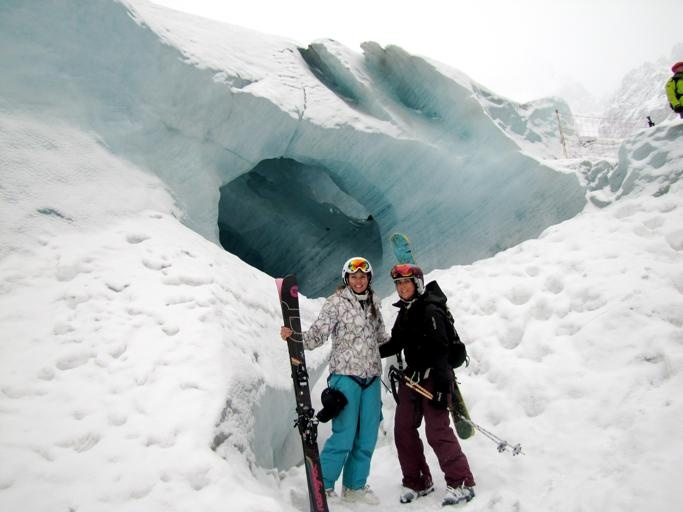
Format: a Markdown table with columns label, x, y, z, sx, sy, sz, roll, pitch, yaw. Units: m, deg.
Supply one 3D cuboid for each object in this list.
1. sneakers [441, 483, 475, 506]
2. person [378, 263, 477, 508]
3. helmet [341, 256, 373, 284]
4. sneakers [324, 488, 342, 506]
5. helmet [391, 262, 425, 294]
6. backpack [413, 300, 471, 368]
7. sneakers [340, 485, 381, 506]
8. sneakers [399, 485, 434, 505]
| label | x | y | z | sx | sy | sz | roll | pitch | yaw |
| --- | --- | --- | --- | --- | --- | --- | --- | --- | --- |
| sneakers | 0.923 | 1.861 | 4.321 | 0.293 | 0.138 | 0.110 | -6 | 27 | -6 |
| person | 0.724 | 1.075 | 4.589 | 0.914 | 1.902 | 0.443 | 7 | -12 | 15 |
| helmet | 0.134 | 0.071 | 4.810 | 0.207 | 0.256 | 0.238 | 3 | -46 | -4 |
| sneakers | -0.055 | 1.910 | 4.414 | 0.114 | 0.122 | 0.046 | -1 | 3 | 41 |
| helmet | 0.579 | 0.166 | 4.820 | 0.220 | 0.268 | 0.286 | 2 | -48 | 34 |
| backpack | 0.860 | 0.699 | 4.779 | 0.273 | 0.513 | 0.539 | -32 | -46 | 4 |
| sneakers | 0.157 | 1.933 | 4.502 | 0.336 | 0.152 | 0.118 | 3 | -1 | -6 |
| sneakers | 0.632 | 1.936 | 4.518 | 0.296 | 0.139 | 0.102 | 7 | -10 | -30 |
